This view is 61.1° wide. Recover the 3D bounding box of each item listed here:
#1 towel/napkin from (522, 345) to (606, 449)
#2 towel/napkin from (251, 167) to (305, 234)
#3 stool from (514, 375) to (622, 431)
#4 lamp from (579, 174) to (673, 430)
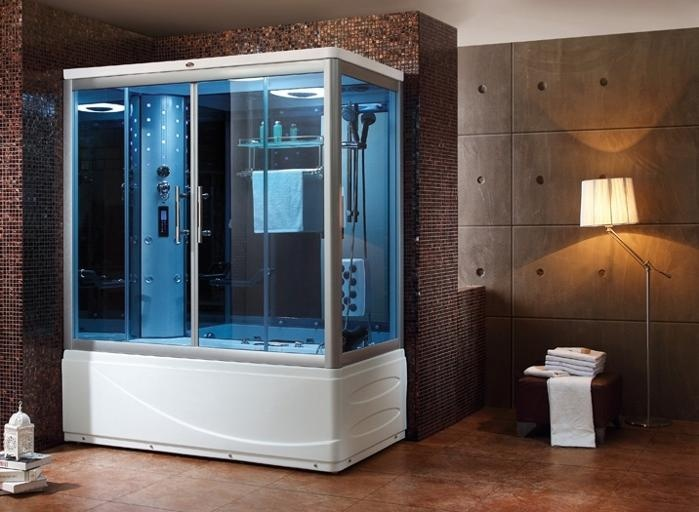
[{"bbox_3d":[1.709,1.029,4.774,0.597,0.565,0.839,0,-2,19],"label":"towel/napkin"},{"bbox_3d":[-0.477,-0.388,4.054,0.463,0.524,0.074,0,-1,19],"label":"towel/napkin"},{"bbox_3d":[1.767,1.094,4.795,0.547,0.367,0.552,-1,-1,25],"label":"stool"},{"bbox_3d":[2.349,0.366,5.115,0.666,2.132,0.508,0,1,28],"label":"lamp"}]
